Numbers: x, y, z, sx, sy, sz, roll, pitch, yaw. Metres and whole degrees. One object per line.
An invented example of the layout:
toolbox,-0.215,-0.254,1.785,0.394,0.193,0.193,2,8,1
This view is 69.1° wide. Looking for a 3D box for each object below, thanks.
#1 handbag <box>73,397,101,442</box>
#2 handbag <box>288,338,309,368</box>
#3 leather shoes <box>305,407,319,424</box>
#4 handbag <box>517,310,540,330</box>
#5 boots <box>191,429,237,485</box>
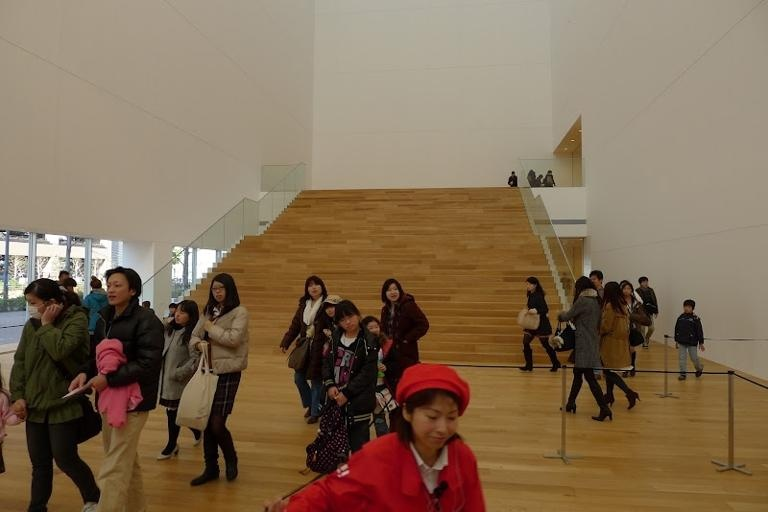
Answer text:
handbag,-3.395,1.895,6.454,0.228,0.525,0.267,2,-9,-3
handbag,-1.249,1.453,8.154,0.251,0.492,0.153,6,-15,39
leather shoes,-1.077,2.423,8.401,0.147,0.298,0.424,-2,-25,6
handbag,2.801,1.242,10.784,0.421,0.466,0.238,-3,-15,11
boots,-2.113,2.530,7.007,0.491,0.676,0.433,-4,-11,30
